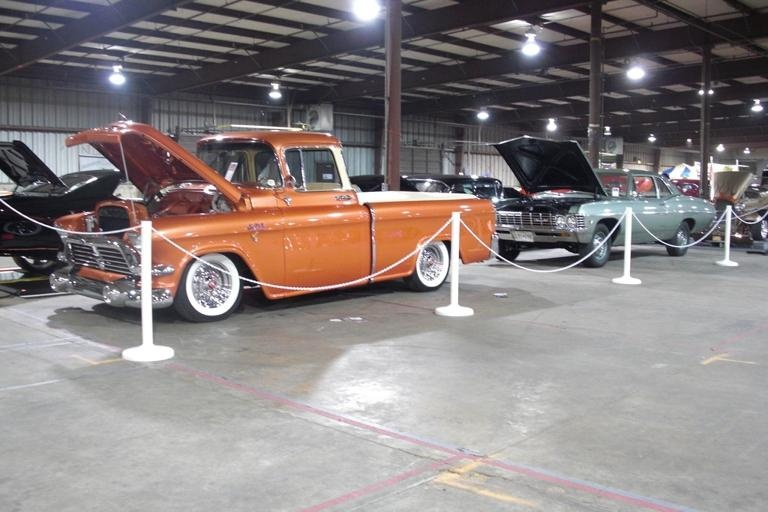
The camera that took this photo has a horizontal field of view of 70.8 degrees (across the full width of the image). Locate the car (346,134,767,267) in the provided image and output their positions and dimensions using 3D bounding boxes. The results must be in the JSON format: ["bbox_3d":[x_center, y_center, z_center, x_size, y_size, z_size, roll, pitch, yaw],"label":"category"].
[{"bbox_3d":[6.901,-1.146,14.612,9.745,2.423,3.893,0,1,-32],"label":"car"}]

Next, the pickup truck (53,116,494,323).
[{"bbox_3d":[-1.462,-0.537,7.546,5.476,2.645,1.712,-3,8,-24],"label":"pickup truck"}]
